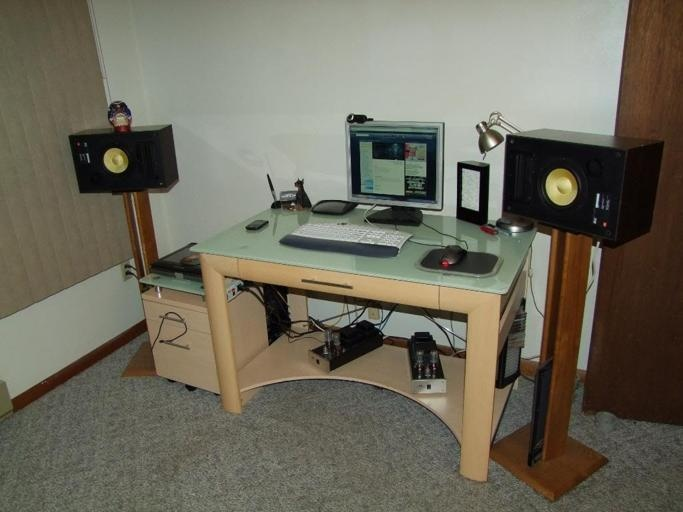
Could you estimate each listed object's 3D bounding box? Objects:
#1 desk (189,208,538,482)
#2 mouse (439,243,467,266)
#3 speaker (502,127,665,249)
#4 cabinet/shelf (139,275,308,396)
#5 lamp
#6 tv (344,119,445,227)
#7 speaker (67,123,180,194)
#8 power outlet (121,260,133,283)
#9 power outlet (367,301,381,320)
[{"bbox_3d":[0.113,0.370,2.897,1.474,1.046,0.863,7,22,21],"label":"desk"},{"bbox_3d":[0.498,-0.009,2.347,0.108,0.048,0.207,5,23,16],"label":"mouse"},{"bbox_3d":[0.993,-0.329,2.259,0.296,0.375,0.508,-18,25,-36],"label":"speaker"},{"bbox_3d":[-0.728,0.401,3.116,0.615,0.511,0.675,7,19,24],"label":"cabinet/shelf"},{"bbox_3d":[0.783,-0.416,2.538,0.295,0.729,0.272,6,31,21],"label":"lamp"},{"bbox_3d":[0.279,-0.436,2.730,0.451,0.473,0.188,9,30,20],"label":"tv"},{"bbox_3d":[-1.258,-0.571,3.070,0.480,0.348,0.290,-5,22,-1],"label":"speaker"},{"bbox_3d":[-1.413,0.114,3.503,0.024,0.103,0.105,4,7,19],"label":"power outlet"},{"bbox_3d":[0.200,0.332,3.257,0.106,0.158,0.015,7,21,22],"label":"power outlet"}]
